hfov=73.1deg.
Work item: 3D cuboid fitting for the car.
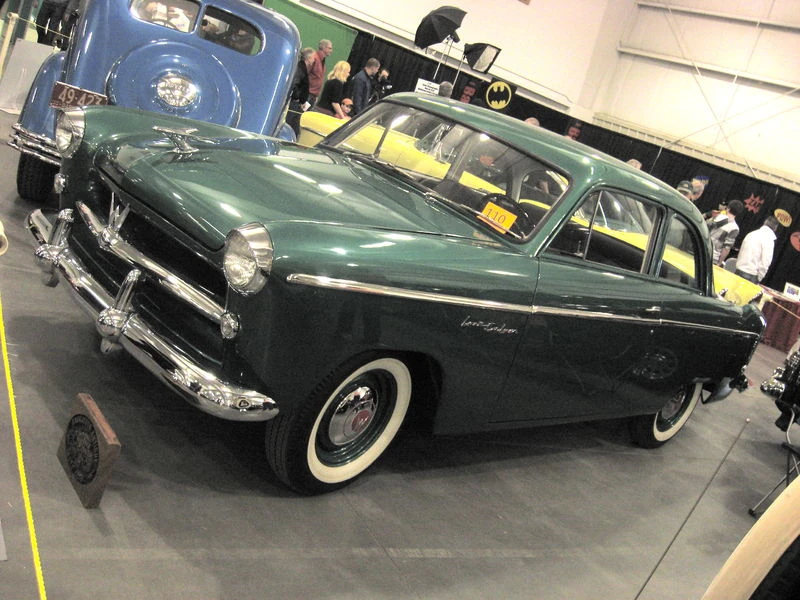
[{"bbox_3d":[0.357,0.097,3.270,3.620,1.254,2.116,7,19,-39],"label":"car"}]
